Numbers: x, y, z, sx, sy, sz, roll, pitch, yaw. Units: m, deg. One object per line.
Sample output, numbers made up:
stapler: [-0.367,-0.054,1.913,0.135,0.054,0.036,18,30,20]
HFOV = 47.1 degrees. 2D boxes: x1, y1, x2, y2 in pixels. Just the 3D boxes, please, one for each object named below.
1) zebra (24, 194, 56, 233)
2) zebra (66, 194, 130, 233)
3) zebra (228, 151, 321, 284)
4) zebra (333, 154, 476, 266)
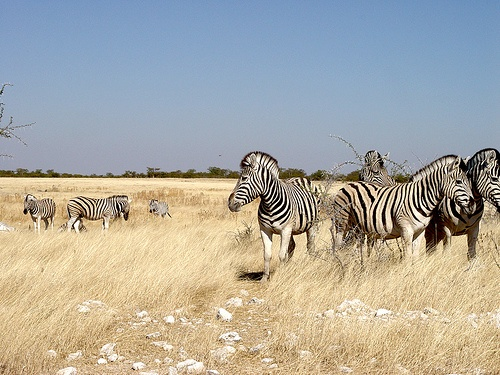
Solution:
zebra: [-7.162,0.911,19.489,0.461,1.393,1.762,1,0,12]
zebra: [-5.055,0.831,18.876,1.009,1.292,2.314,7,17,40]
zebra: [0.501,0.532,11.345,2.115,2.525,0.730,-13,15,-40]
zebra: [2.842,0.546,11.191,2.850,2.487,0.905,3,-6,38]
